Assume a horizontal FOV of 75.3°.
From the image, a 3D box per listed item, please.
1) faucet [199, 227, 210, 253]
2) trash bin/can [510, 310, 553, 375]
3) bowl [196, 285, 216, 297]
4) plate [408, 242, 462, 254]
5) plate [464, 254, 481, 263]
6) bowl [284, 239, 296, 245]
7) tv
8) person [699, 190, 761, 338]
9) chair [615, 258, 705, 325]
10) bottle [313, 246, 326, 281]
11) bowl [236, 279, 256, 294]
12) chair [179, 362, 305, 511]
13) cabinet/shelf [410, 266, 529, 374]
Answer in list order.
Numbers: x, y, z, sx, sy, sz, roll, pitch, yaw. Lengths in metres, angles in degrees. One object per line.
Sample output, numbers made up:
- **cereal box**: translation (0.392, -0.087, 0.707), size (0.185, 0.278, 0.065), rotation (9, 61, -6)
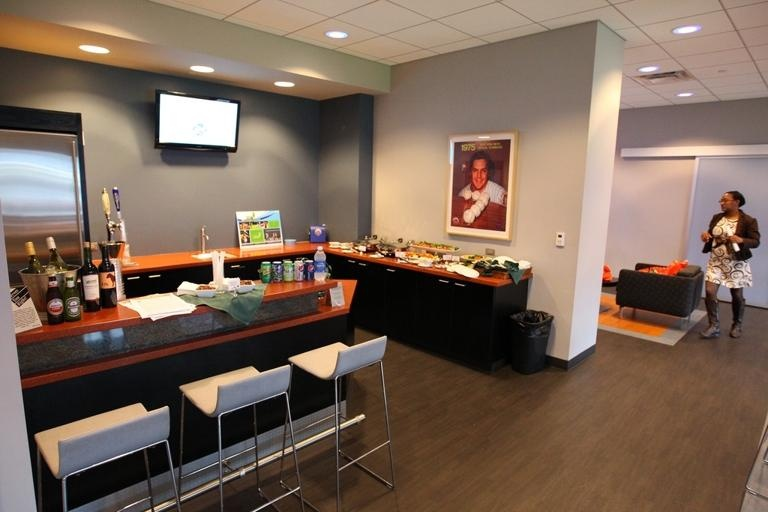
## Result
- **faucet**: translation (-2.396, -0.214, 6.613), size (0.114, 0.323, 0.372), rotation (-3, 15, -19)
- **trash bin/can**: translation (1.758, 1.020, 5.994), size (0.494, 0.659, 0.406), rotation (-11, 19, -42)
- **bowl**: translation (-1.542, 0.300, 4.315), size (0.172, 0.071, 0.146), rotation (2, 14, 1)
- **plate**: translation (0.674, -0.107, 6.798), size (0.734, 0.128, 0.212), rotation (11, 17, 33)
- **plate**: translation (1.139, 0.042, 6.325), size (0.203, 0.095, 0.260), rotation (-2, 14, -15)
- **bowl**: translation (-1.402, -0.217, 7.391), size (0.145, 0.071, 0.150), rotation (2, 14, 0)
- **tv**: translation (-2.440, -1.754, 6.365), size (0.952, 0.638, 0.080), rotation (-5, 17, -37)
- **person**: translation (4.846, 0.121, 7.043), size (0.679, 2.025, 0.651), rotation (10, 16, 32)
- **chair**: translation (4.225, 0.406, 7.661), size (0.963, 0.812, 0.990), rotation (7, 11, 35)
- **bottle**: translation (-0.632, 0.075, 4.928), size (0.118, 0.314, 0.251), rotation (0, 14, -5)
- **bowl**: translation (-1.230, 0.277, 4.416), size (0.130, 0.070, 0.154), rotation (4, 14, 9)
- **chair**: translation (-1.172, 1.434, 4.042), size (0.977, 1.249, 0.767), rotation (-4, 15, -23)
- **cabinet/shelf**: translation (1.075, 0.637, 6.478), size (1.110, 1.290, 1.384), rotation (-1, 7, -42)
